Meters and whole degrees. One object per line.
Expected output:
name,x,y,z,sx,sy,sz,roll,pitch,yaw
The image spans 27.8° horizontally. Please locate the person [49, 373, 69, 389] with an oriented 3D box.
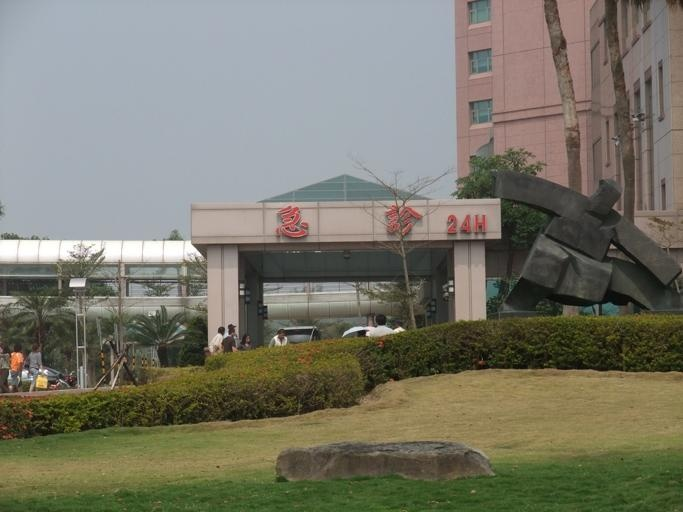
person,-14.127,6.325,69.216,1.347,0.732,1.797,2,-1,-7
